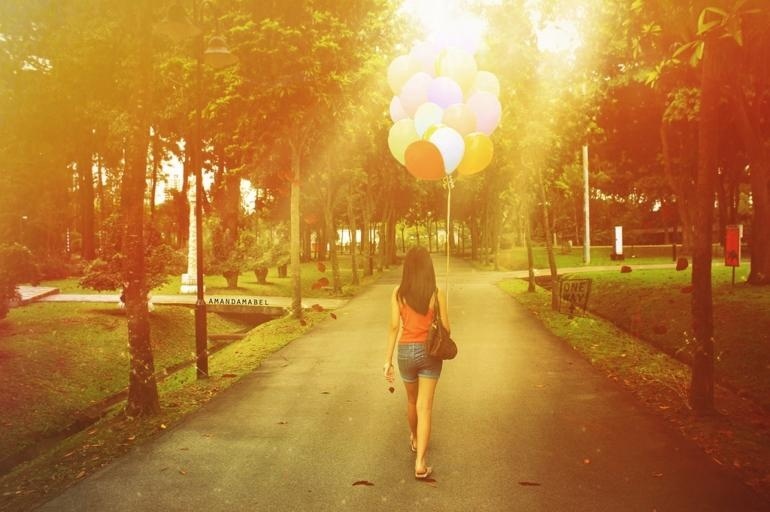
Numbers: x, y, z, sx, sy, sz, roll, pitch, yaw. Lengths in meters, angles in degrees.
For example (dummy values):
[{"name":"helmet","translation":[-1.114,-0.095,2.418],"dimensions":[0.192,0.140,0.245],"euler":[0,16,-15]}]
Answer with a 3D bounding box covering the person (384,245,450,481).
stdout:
[{"name":"person","translation":[0.556,1.843,11.707],"dimensions":[1.094,3.961,1.260],"euler":[5,12,36]}]
